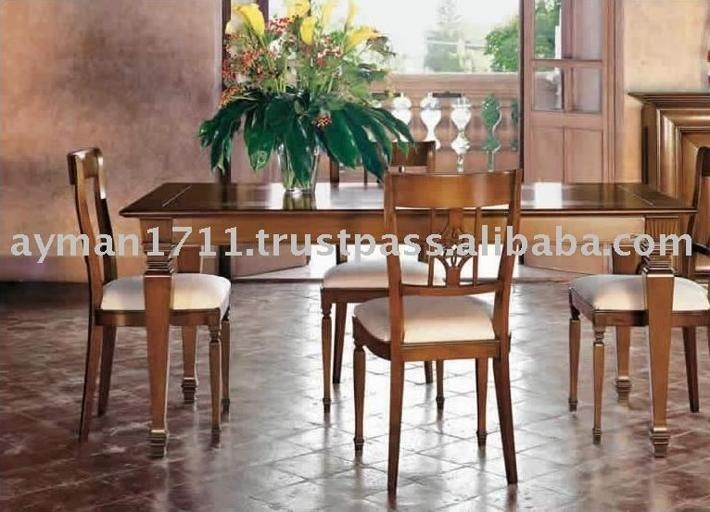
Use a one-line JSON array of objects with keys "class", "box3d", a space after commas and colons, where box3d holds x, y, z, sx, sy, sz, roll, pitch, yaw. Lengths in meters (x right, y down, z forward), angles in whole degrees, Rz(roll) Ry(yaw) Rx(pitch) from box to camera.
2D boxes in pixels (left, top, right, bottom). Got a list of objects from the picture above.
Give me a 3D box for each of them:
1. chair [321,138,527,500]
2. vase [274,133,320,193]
[{"class": "chair", "box3d": [0.288, 0.234, 3.429, 0.821, 1.325, 1.157, -3, 13, -10]}, {"class": "vase", "box3d": [-0.345, -0.481, 3.985, 0.246, 0.250, 0.237, 2, 13, 10]}]
